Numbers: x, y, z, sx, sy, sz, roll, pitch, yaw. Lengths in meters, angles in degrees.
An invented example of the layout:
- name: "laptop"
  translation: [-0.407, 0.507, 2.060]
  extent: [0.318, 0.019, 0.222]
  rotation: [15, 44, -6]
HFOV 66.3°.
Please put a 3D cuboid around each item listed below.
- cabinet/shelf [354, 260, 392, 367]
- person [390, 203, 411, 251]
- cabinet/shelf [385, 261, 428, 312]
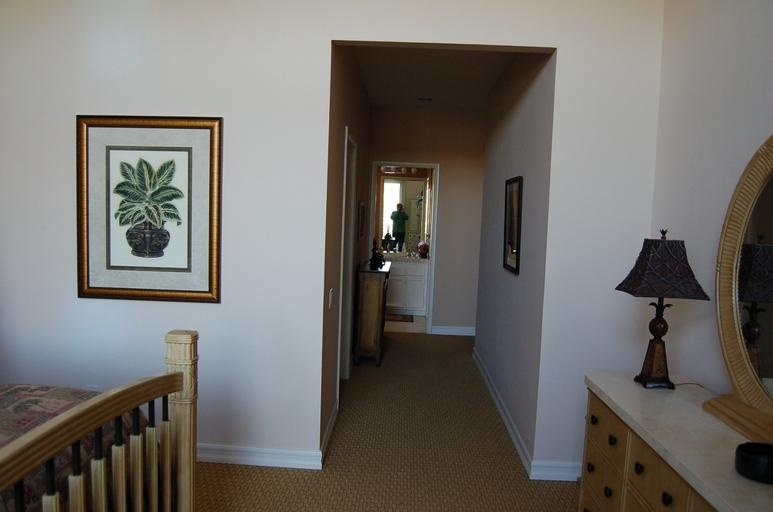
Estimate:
- name: "cabinet/shelf"
  translation: [-0.167, 0.654, 6.482]
  extent: [0.385, 1.001, 1.041]
  rotation: [1, 4, 3]
- name: "person"
  translation: [0.226, -0.441, 9.506]
  extent: [0.284, 0.734, 0.283]
  rotation: [0, 12, -7]
- name: "cabinet/shelf"
  translation: [0.333, 0.474, 8.812]
  extent: [0.718, 1.004, 0.624]
  rotation: [1, 4, 5]
